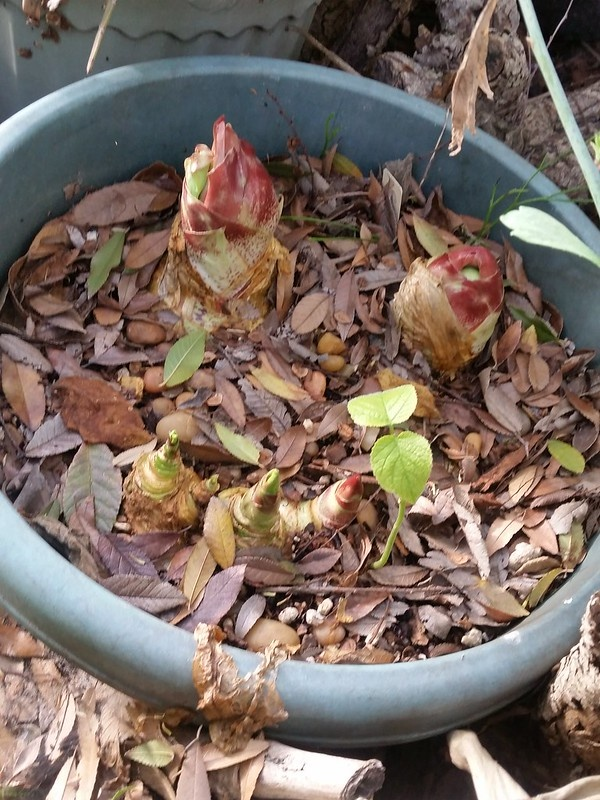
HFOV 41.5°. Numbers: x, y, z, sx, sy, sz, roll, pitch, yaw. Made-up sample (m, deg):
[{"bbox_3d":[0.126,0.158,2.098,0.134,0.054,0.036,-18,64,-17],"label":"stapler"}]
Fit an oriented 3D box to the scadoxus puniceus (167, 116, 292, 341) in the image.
[{"bbox_3d":[-0.077,-0.174,0.808,0.133,0.215,0.111,-13,66,-4],"label":"scadoxus puniceus"}]
